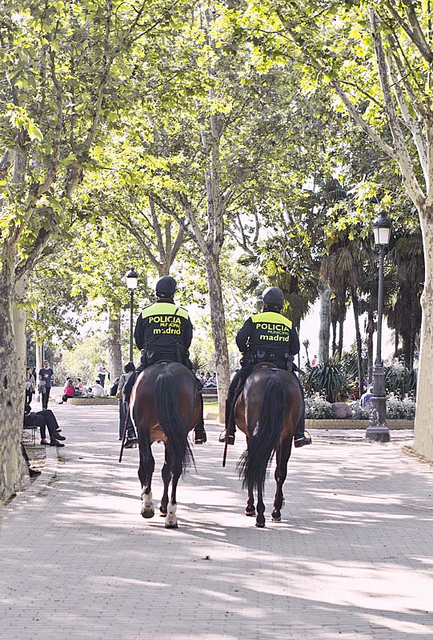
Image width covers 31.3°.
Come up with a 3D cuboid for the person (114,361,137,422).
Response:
[{"bbox_3d":[-2.053,1.602,17.142,0.489,1.374,0.469,8,9,15],"label":"person"}]

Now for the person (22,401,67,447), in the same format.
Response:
[{"bbox_3d":[-3.786,2.400,16.903,0.761,0.767,1.355,0,-1,-8],"label":"person"}]

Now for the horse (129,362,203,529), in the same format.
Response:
[{"bbox_3d":[-0.574,1.364,8.408,0.814,1.772,1.007,0,-1,-2],"label":"horse"}]

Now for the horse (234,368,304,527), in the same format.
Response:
[{"bbox_3d":[0.584,1.400,8.631,0.717,1.686,0.972,0,-1,6],"label":"horse"}]
